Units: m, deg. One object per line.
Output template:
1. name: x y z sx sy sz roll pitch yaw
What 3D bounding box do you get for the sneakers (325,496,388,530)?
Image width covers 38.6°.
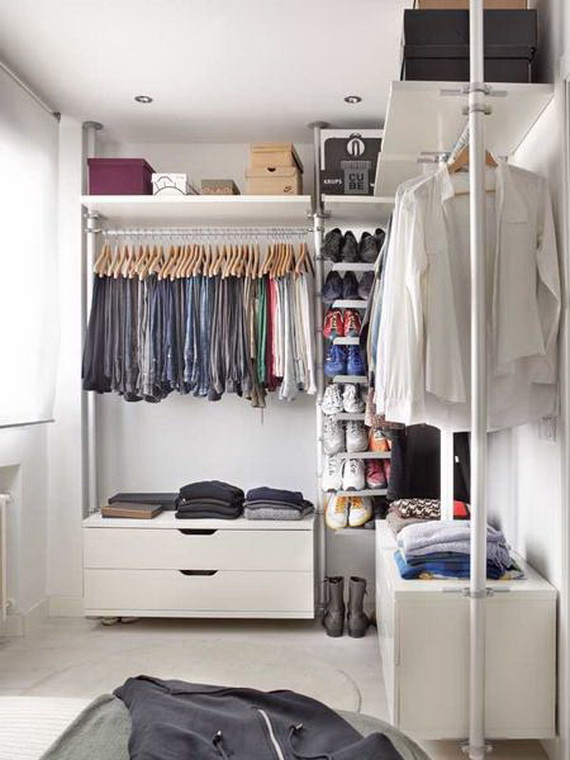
1. sneakers: 0.301 0.558 3.468 0.263 0.108 0.166 -1 0 2

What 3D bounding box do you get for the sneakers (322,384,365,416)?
1. sneakers: 0.240 0.084 3.402 0.095 0.086 0.191 1 -9 -3

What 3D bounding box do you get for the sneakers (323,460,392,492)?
1. sneakers: 0.297 0.387 3.432 0.291 0.132 0.123 -4 6 0

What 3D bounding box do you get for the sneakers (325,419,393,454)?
1. sneakers: 0.303 0.228 3.465 0.300 0.147 0.126 -2 26 1

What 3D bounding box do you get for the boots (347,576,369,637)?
1. boots: 0.303 0.925 3.416 0.097 0.180 0.293 -1 1 5

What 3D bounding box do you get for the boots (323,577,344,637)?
1. boots: 0.211 0.923 3.452 0.100 0.218 0.299 1 2 5

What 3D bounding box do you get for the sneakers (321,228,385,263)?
1. sneakers: 0.286 -0.563 3.446 0.264 0.117 0.149 -1 0 8

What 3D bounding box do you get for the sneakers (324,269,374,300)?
1. sneakers: 0.267 -0.394 3.404 0.167 0.092 0.213 -1 3 2
